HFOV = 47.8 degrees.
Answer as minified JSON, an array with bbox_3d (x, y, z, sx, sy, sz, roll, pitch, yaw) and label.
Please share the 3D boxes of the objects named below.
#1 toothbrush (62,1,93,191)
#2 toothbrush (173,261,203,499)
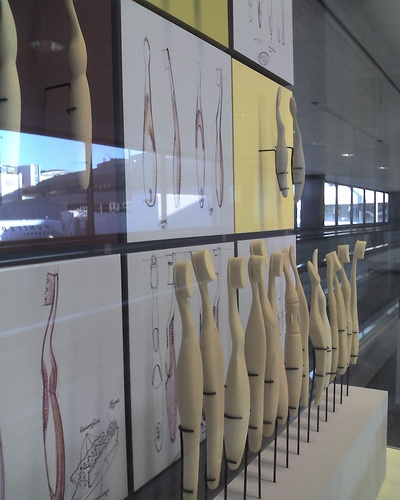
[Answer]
[{"bbox_3d":[-0.247,-0.322,0.954,0.026,0.296,0.086,-2,-1,18],"label":"toothbrush"},{"bbox_3d":[-0.024,0.310,1.041,0.059,0.481,0.133,-1,-1,-2],"label":"toothbrush"}]
